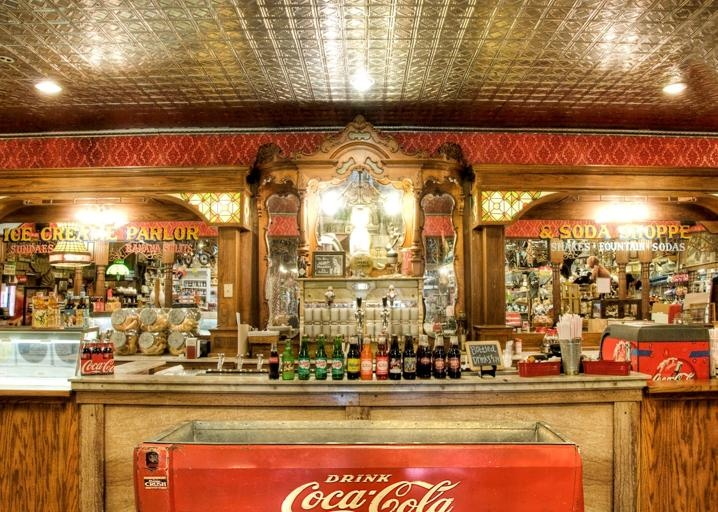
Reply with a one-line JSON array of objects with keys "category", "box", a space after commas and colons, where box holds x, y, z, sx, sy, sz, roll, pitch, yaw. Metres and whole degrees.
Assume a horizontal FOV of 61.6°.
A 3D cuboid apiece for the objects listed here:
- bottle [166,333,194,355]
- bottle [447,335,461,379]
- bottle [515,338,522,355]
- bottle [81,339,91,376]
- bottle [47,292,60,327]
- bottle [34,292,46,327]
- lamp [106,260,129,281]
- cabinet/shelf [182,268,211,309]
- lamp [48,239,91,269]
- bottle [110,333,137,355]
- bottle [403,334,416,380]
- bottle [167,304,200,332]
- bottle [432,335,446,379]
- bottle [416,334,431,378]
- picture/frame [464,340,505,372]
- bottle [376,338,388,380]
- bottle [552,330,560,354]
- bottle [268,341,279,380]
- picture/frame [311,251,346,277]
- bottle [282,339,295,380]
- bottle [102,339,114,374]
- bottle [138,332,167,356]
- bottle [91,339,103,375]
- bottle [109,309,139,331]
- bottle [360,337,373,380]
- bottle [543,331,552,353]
[{"category": "bottle", "box": [-2.531, 1.223, 8.355, 0.354, 0.317, 0.173, -2, -6, 17]}, {"category": "bottle", "box": [0.872, 0.926, 5.502, 0.117, 0.370, 0.204, -1, -5, 11]}, {"category": "bottle", "box": [1.727, 0.996, 6.487, 0.055, 0.150, 0.155, -1, -5, 7]}, {"category": "bottle", "box": [-2.508, 0.943, 5.524, 0.088, 0.294, 0.132, 3, -6, -29]}, {"category": "bottle", "box": [-3.080, 0.548, 6.040, 0.122, 0.309, 0.299, 3, -6, -27]}, {"category": "bottle", "box": [-3.164, 0.546, 5.970, 0.122, 0.299, 0.127, 0, -5, 0]}, {"category": "lamp", "box": [-4.841, 0.269, 12.047, 0.553, 0.455, 0.484, 4, -1, -12]}, {"category": "cabinet/shelf", "box": [-3.527, 0.714, 13.147, 0.761, 0.905, 0.660, 1, -6, -15]}, {"category": "lamp", "box": [-4.852, -0.027, 10.084, 0.762, 0.392, 0.736, 3, -5, -41]}, {"category": "bottle", "box": [-3.252, 1.215, 8.357, 0.345, 0.337, 0.148, 2, -6, -22]}, {"category": "bottle", "box": [0.469, 0.926, 5.508, 0.121, 0.377, 0.295, 0, -5, 5]}, {"category": "bottle", "box": [-2.479, 0.908, 8.577, 0.406, 0.321, 0.366, 0, -5, -5]}, {"category": "bottle", "box": [0.729, 0.909, 5.448, 0.122, 0.398, 0.266, -1, -5, 8]}, {"category": "bottle", "box": [0.590, 0.912, 5.428, 0.131, 0.392, 0.149, 0, -5, 0]}, {"category": "picture/frame", "box": [1.168, 0.938, 5.592, 0.499, 0.302, 0.047, 1, -21, -6]}, {"category": "bottle", "box": [0.210, 0.928, 5.461, 0.122, 0.368, 0.156, 0, -5, 2]}, {"category": "bottle", "box": [1.895, 0.842, 5.807, 0.075, 0.224, 0.217, -1, -5, 14]}, {"category": "bottle", "box": [-0.774, 0.994, 5.520, 0.103, 0.259, 0.215, 1, -5, -8]}, {"category": "picture/frame", "box": [-0.422, 0.119, 8.554, 0.446, 0.300, 0.032, 1, -3, -1]}, {"category": "bottle", "box": [-0.647, 0.947, 5.509, 0.125, 0.357, 0.308, 1, -5, -7]}, {"category": "bottle", "box": [-2.329, 0.950, 5.586, 0.106, 0.288, 0.168, 2, -6, -21]}, {"category": "bottle", "box": [-2.876, 1.229, 8.442, 0.380, 0.292, 0.354, -3, -5, 0]}, {"category": "bottle", "box": [-2.411, 0.942, 5.527, 0.104, 0.289, 0.085, 2, -6, -21]}, {"category": "bottle", "box": [-3.262, 0.914, 8.384, 0.361, 0.302, 0.193, 16, -1, -8]}, {"category": "bottle", "box": [0.071, 0.933, 5.476, 0.109, 0.368, 0.219, 0, -5, 2]}, {"category": "bottle", "box": [1.898, 0.850, 5.952, 0.121, 0.212, 0.349, -1, -5, 14]}]
